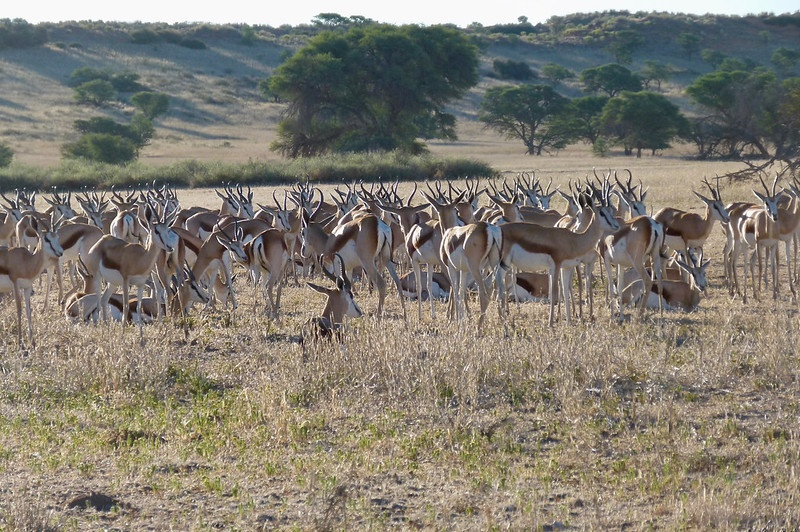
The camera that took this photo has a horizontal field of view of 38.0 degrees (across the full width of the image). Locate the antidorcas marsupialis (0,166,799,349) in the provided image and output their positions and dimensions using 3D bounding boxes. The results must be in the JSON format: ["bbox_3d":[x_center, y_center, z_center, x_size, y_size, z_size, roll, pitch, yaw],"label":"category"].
[{"bbox_3d":[0.090,0.015,34.716,21.263,5.582,5.504,2,0,0],"label":"antidorcas marsupialis"}]
